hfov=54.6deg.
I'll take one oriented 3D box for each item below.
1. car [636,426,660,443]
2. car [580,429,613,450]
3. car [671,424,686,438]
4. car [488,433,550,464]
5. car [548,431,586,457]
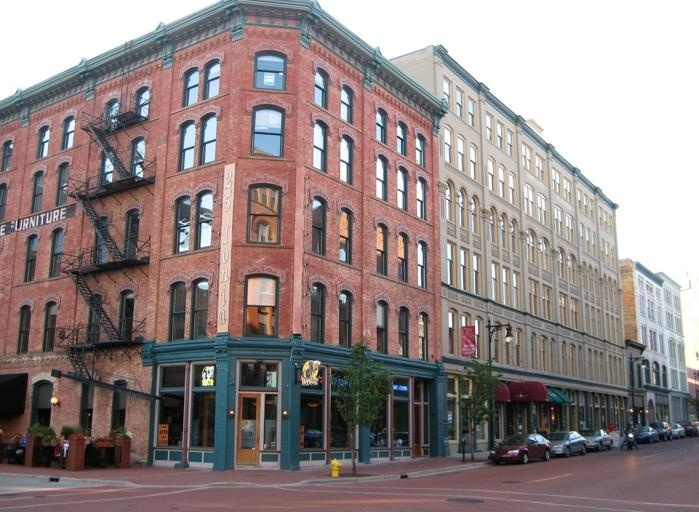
[{"bbox_3d":[25.937,15.473,59.012,1.534,1.728,4.236,-11,-23,24],"label":"car"},{"bbox_3d":[17.642,12.972,48.083,1.206,0.945,2.872,-10,-20,31],"label":"car"},{"bbox_3d":[34.138,18.240,70.203,1.443,1.060,2.960,-3,-5,24],"label":"car"},{"bbox_3d":[9.409,10.499,37.166,3.775,1.731,1.350,16,-27,-37],"label":"car"},{"bbox_3d":[13.482,11.625,42.105,1.184,1.655,3.707,-14,-25,31],"label":"car"}]
